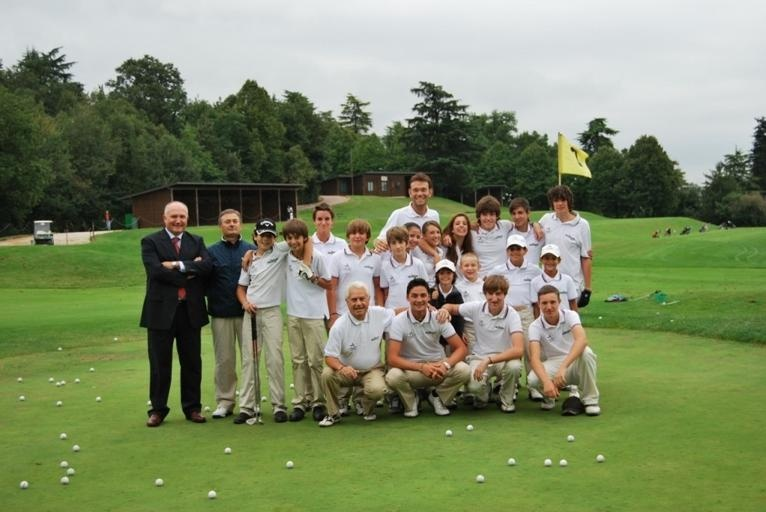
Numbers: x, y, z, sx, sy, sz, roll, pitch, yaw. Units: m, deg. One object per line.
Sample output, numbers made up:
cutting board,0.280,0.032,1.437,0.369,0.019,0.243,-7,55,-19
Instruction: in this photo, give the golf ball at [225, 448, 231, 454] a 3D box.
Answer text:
golf ball,-2.363,2.942,13.350,0.068,0.066,0.084,4,-8,-9

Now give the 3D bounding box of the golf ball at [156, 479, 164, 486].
golf ball,-3.177,3.195,12.503,0.117,0.071,0.158,-5,13,-14

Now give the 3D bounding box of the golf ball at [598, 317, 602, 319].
golf ball,5.318,1.504,21.577,0.056,0.029,0.054,-7,-3,0

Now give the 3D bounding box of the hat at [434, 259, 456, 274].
hat,1.081,0.159,15.277,0.297,0.207,0.470,0,-8,5

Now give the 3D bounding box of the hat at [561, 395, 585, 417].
hat,3.146,2.468,14.571,0.388,0.215,0.339,1,13,14

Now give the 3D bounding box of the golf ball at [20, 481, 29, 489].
golf ball,-5.116,3.243,12.514,0.080,0.078,0.107,0,-18,-13

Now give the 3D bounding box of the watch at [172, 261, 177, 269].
watch,-3.462,0.139,14.684,0.075,0.103,0.113,2,27,-3

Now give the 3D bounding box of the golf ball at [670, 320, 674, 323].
golf ball,6.785,1.512,20.643,0.024,0.047,0.092,17,-5,11

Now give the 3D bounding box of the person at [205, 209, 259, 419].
person,-2.803,0.944,15.430,1.098,3.121,1.068,1,-1,-15

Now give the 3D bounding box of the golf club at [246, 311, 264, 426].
golf club,-2.136,1.842,14.723,0.323,1.648,0.291,1,-1,-4

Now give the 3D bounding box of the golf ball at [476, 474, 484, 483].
golf ball,1.374,3.126,12.415,0.087,0.085,0.082,-5,41,4

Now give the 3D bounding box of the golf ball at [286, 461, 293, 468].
golf ball,-1.370,3.036,12.889,0.076,0.077,0.077,25,5,-2

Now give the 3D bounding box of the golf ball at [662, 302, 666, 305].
golf ball,7.592,1.262,23.789,0.088,0.059,0.119,-3,-1,0

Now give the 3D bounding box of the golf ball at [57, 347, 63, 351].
golf ball,-7.326,2.095,19.920,0.053,0.069,0.169,-2,0,-19

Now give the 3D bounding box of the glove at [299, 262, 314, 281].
glove,-1.302,0.254,14.766,0.127,0.227,0.286,-19,25,-22
